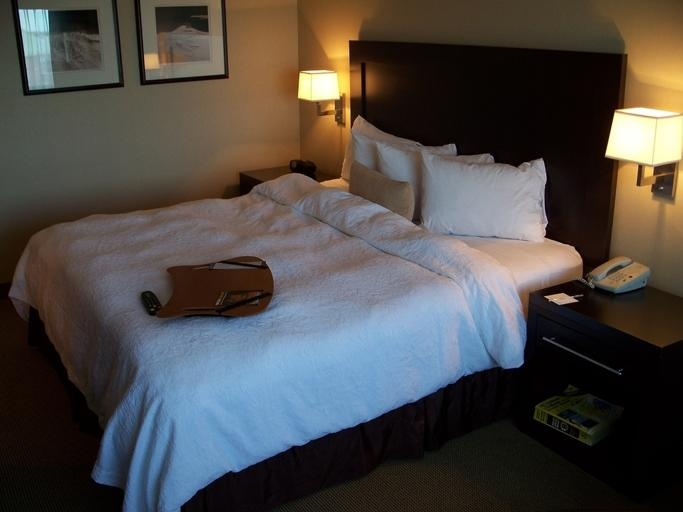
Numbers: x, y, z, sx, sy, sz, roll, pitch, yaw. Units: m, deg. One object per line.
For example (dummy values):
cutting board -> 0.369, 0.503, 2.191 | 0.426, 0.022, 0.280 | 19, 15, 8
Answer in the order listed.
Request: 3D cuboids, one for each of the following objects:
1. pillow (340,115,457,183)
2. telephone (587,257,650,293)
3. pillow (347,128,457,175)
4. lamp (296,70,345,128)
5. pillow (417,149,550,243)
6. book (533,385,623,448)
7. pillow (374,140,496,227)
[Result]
pillow -> 0.445, -0.771, 3.888 | 0.112, 0.395, 0.576 | 0, 20, -40
telephone -> 1.499, 0.107, 2.905 | 0.266, 0.106, 0.288 | -11, 14, 5
pillow -> 0.456, -0.738, 3.838 | 0.104, 0.282, 0.409 | -4, 19, -42
lamp -> -0.167, -1.406, 4.835 | 0.362, 0.534, 0.307 | -14, 30, -20
pillow -> 0.910, -0.354, 3.354 | 0.525, 0.376, 0.165 | 8, 9, 21
book -> 1.252, 0.833, 2.813 | 0.391, 0.096, 0.394 | -8, 16, -16
pillow -> 0.621, -0.446, 3.487 | 0.500, 0.383, 0.178 | 15, 26, 35
